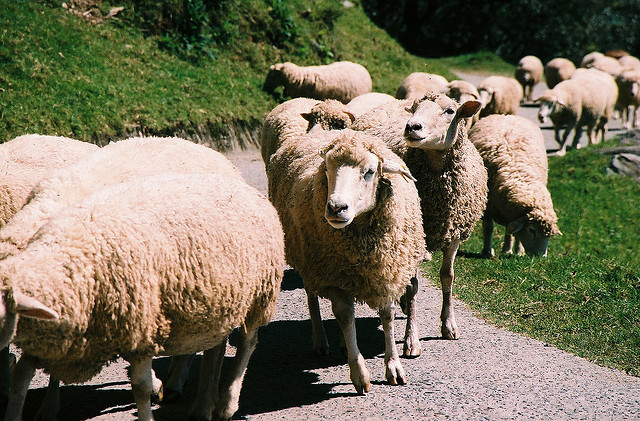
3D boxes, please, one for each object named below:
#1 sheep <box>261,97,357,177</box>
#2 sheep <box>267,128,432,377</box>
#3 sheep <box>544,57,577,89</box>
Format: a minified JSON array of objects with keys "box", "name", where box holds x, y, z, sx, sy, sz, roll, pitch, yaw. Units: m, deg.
[{"box":[-0.116,-0.949,13.555,1.069,1.596,2.338,-9,2,-19],"name":"sheep"},{"box":[0.368,0.560,11.144,1.924,3.203,1.413,0,4,17],"name":"sheep"},{"box":[7.540,-4.400,27.042,0.832,1.123,1.704,-2,2,-7],"name":"sheep"}]
